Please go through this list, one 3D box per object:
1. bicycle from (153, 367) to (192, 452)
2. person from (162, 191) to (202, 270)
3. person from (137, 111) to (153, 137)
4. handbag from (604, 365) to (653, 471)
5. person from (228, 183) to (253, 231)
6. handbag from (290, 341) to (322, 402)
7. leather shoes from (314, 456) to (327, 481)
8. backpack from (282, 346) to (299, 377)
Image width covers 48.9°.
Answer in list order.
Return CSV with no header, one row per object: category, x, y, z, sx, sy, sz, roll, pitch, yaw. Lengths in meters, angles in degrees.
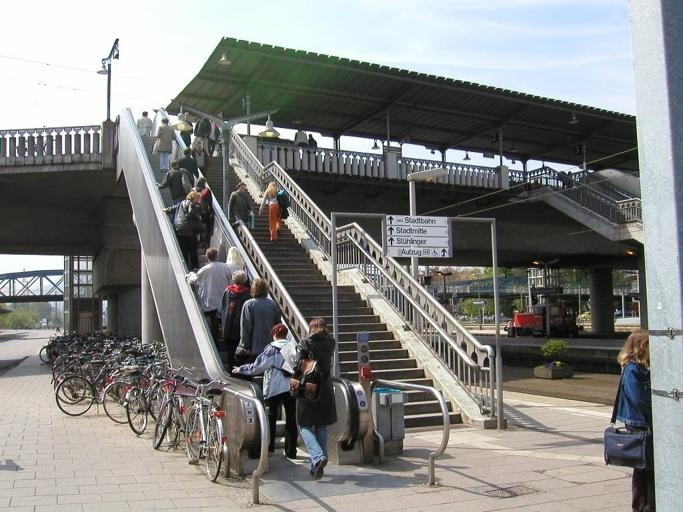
bicycle,-2.473,2.260,11.067,0.355,1.188,1.016,2,-4,-32
person,-3.021,-0.511,14.654,0.576,1.594,0.915,1,-4,-16
person,-6.201,-4.178,23.805,0.473,1.051,1.299,1,-4,-14
handbag,3.045,1.637,7.954,0.508,1.140,0.579,4,-9,-23
person,-2.415,-1.244,18.095,0.599,1.120,0.876,1,-4,-9
handbag,-0.452,1.589,9.730,0.364,0.570,0.289,6,-7,16
leather shoes,-0.252,2.655,9.444,0.112,0.340,0.131,9,11,-28
backpack,-0.640,1.341,9.887,0.117,0.359,0.262,10,-26,-14
